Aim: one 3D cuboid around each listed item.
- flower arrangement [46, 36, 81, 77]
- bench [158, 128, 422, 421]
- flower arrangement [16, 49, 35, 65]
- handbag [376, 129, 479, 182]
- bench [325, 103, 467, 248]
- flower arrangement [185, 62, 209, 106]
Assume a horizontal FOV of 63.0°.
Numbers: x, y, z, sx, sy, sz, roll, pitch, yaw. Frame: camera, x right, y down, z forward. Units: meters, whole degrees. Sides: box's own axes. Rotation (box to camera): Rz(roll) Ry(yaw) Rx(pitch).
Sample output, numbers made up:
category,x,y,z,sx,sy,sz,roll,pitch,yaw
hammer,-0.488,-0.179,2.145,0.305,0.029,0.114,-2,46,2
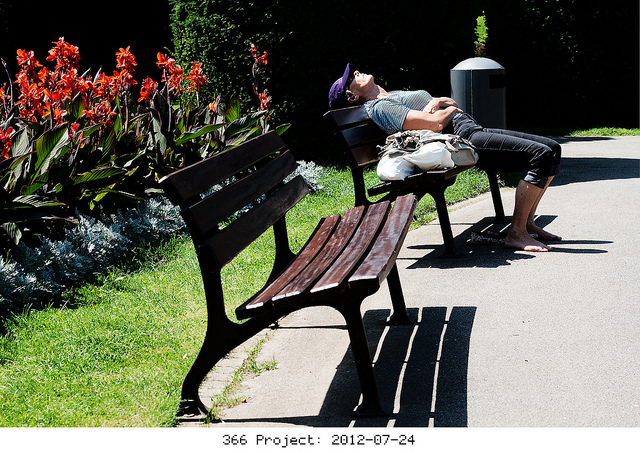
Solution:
category,x,y,z,sx,sy,sz,roll,pitch,yaw
flower arrangement,-2.260,-1.494,4.627,0.247,0.333,0.397,-21,23,-20
bench,-0.154,0.173,3.134,1.243,1.437,1.609,-4,23,21
flower arrangement,-2.403,-1.398,4.342,0.149,0.076,0.138,-35,28,-23
handbag,0.903,-0.648,4.590,0.630,0.247,0.529,-2,22,7
bench,0.742,-0.470,4.693,0.720,0.855,1.611,-7,11,19
flower arrangement,-1.328,-1.592,5.709,0.187,0.377,0.195,-15,-11,23
